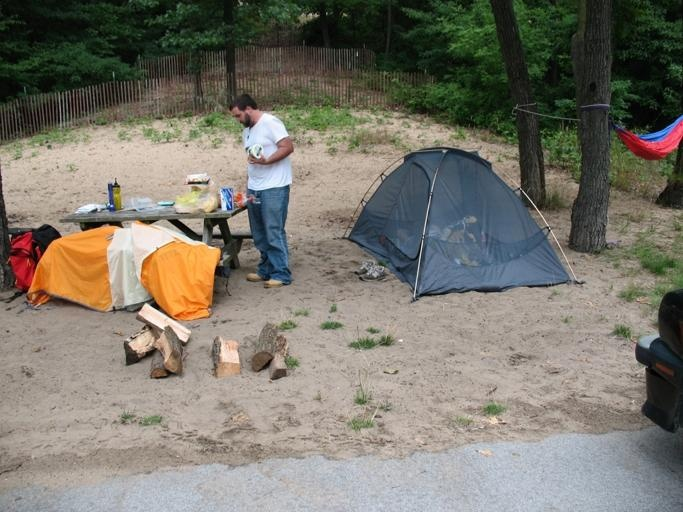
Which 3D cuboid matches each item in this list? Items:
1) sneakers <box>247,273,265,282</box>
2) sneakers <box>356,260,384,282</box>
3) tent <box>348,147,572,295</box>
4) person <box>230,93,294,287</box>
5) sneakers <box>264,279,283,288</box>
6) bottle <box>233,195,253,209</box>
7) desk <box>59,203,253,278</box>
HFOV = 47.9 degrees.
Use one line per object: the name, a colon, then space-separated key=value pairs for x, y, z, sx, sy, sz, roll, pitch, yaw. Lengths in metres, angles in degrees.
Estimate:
sneakers: x=-1.225 y=0.315 z=10.978 sx=0.251 sy=0.116 sz=0.103 roll=6 pitch=19 yaw=-18
sneakers: x=0.431 y=0.230 z=11.096 sx=0.324 sy=0.121 sz=0.256 roll=3 pitch=30 yaw=-37
tent: x=1.914 y=-0.437 z=11.120 sx=2.183 sy=1.412 sz=2.612 roll=-6 pitch=18 yaw=-17
person: x=-1.034 y=-0.884 z=10.568 sx=0.714 sy=2.581 sz=0.533 roll=16 pitch=25 yaw=40
sneakers: x=-0.940 y=0.387 z=10.668 sx=0.191 sy=0.082 sz=0.108 roll=2 pitch=-4 yaw=-45
bottle: x=-1.386 y=-0.786 z=10.751 sx=0.211 sy=0.089 sz=0.224 roll=8 pitch=39 yaw=-7
desk: x=-2.461 y=-0.295 z=11.176 sx=2.201 sy=1.094 sz=1.448 roll=1 pitch=19 yaw=4
